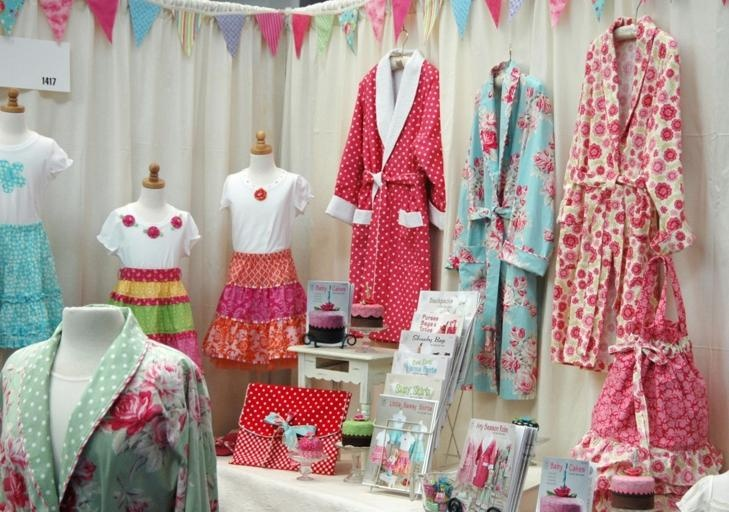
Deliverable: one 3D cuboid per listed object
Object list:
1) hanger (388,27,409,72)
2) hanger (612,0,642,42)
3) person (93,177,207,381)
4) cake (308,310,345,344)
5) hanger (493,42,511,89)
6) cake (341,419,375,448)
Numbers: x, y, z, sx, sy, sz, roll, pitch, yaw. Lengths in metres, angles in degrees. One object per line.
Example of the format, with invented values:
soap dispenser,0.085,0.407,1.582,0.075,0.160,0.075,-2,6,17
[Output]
hanger,0.197,-1.193,4.429,0.092,0.262,0.170,4,0,3
hanger,1.245,-1.123,3.659,0.121,0.192,0.075,4,0,42
person,-1.188,0.094,4.339,0.489,1.172,0.322,-3,23,-23
cake,-0.193,0.369,3.971,0.146,0.132,0.161,2,0,-6
hanger,0.720,-0.998,4.032,0.116,0.228,0.074,4,0,-42
cake,-0.035,0.839,3.628,0.106,0.093,0.117,2,2,12
